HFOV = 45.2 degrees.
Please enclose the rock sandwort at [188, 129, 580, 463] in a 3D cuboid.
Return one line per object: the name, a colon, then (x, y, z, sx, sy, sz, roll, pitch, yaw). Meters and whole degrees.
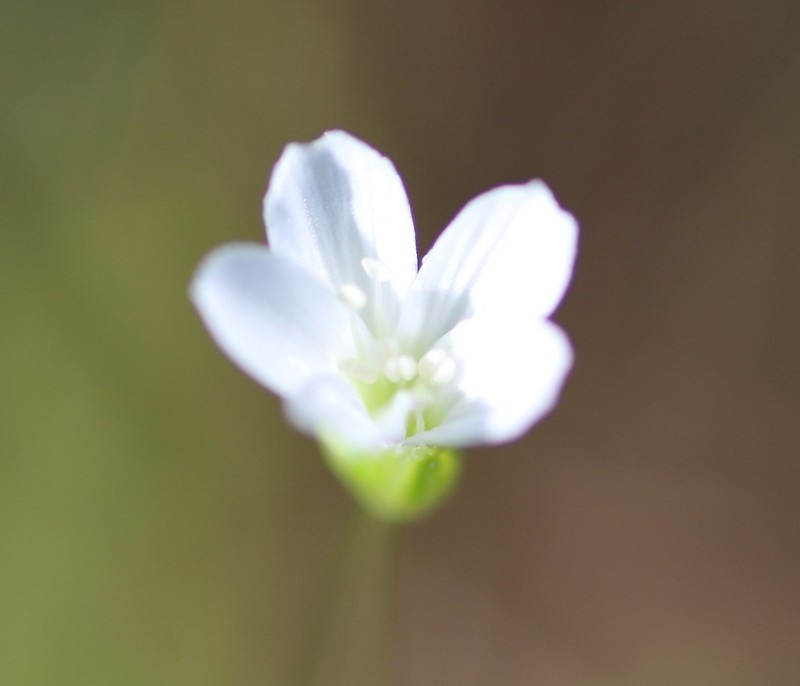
rock sandwort: (0.013, -0.057, 0.731, 0.261, 0.147, 0.264, 4, 6, -39)
